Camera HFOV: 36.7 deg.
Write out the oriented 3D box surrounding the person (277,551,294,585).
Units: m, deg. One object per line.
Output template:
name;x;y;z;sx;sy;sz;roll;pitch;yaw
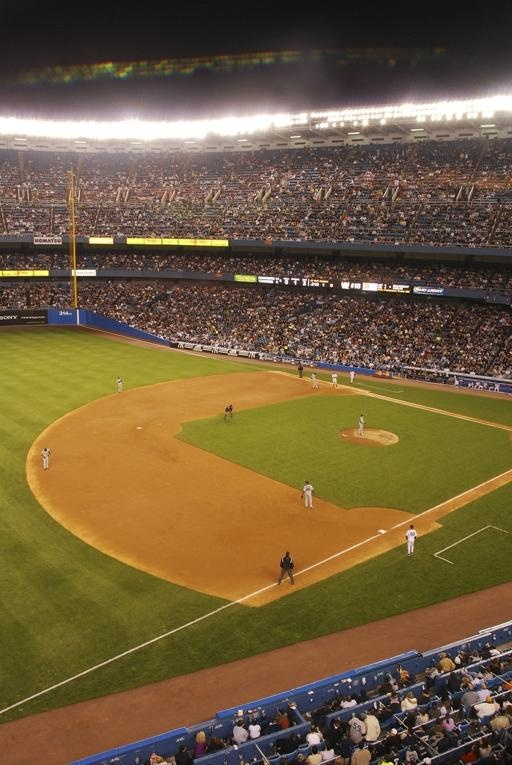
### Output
person;0.848;5.173;21.919;0.476;0.941;0.877;0;14;1
